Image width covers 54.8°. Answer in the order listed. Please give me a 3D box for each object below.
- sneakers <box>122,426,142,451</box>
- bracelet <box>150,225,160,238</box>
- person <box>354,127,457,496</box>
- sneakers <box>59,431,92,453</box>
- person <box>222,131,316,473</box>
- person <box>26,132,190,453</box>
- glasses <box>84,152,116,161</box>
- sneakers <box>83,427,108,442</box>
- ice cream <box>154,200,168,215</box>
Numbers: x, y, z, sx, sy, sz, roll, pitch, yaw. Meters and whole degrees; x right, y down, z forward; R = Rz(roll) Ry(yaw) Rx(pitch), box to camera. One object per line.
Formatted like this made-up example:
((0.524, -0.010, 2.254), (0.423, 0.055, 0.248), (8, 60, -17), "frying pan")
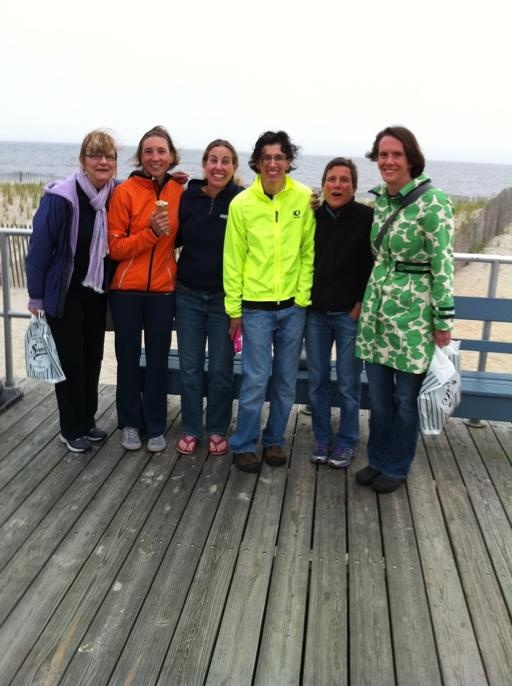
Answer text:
((-0.736, 0.567, 2.934), (0.069, 0.070, 0.175), (-1, 9, -18), "sneakers")
((-0.523, -0.575, 2.561), (0.048, 0.050, 0.035), (7, -35, -38), "bracelet")
((0.720, -0.002, 2.419), (0.262, 1.552, 0.444), (-4, 11, -28), "person")
((-1.071, 0.582, 2.945), (0.216, 0.089, 0.082), (11, 15, 36), "sneakers")
((0.062, -0.191, 2.674), (0.483, 1.769, 0.287), (1, 10, -5), "person")
((-1.031, -0.250, 2.786), (0.502, 1.765, 0.379), (-2, 10, -19), "person")
((-0.811, -0.963, 2.577), (0.151, 0.043, 0.042), (-1, 11, -16), "glasses")
((-0.973, 0.556, 3.027), (0.141, 0.059, 0.058), (3, 14, 38), "sneakers")
((-0.484, -0.701, 2.513), (0.070, 0.081, 0.080), (-6, -25, -15), "ice cream")
